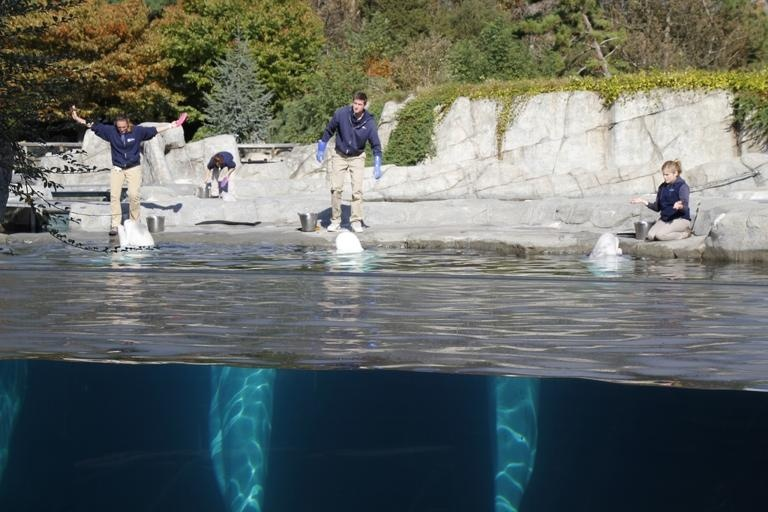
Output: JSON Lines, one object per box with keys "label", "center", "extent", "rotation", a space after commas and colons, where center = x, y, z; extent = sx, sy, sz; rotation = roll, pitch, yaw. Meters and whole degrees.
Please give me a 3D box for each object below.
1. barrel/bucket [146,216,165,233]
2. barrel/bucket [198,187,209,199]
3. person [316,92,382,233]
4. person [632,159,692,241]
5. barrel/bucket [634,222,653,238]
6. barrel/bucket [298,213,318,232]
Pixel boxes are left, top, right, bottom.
{"label": "barrel/bucket", "center": [-4.278, -0.597, 25.278], "extent": [0.359, 0.217, 0.268], "rotation": [1, 1, 8]}
{"label": "barrel/bucket", "center": [-3.905, -1.361, 29.046], "extent": [0.266, 0.223, 0.243], "rotation": [0, 2, 0]}
{"label": "person", "center": [-0.634, -1.735, 25.053], "extent": [1.120, 2.571, 0.758], "rotation": [-2, 10, 2]}
{"label": "person", "center": [5.046, -0.994, 23.946], "extent": [0.772, 1.346, 0.853], "rotation": [0, 10, 12]}
{"label": "barrel/bucket", "center": [4.653, -0.467, 24.188], "extent": [0.331, 0.218, 0.310], "rotation": [-1, -2, 0]}
{"label": "barrel/bucket", "center": [-1.459, -0.634, 25.640], "extent": [0.386, 0.268, 0.373], "rotation": [-1, -5, 0]}
